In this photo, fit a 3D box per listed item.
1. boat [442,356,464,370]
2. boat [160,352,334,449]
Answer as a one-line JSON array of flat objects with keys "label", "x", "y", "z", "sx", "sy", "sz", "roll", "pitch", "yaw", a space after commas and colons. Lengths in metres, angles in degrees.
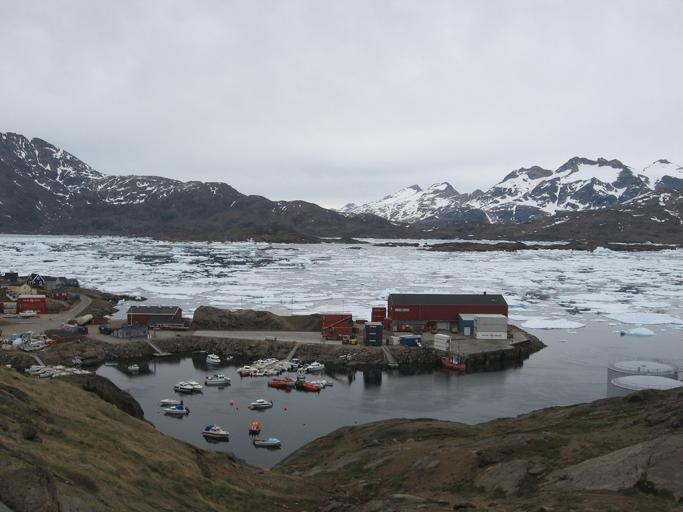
[{"label": "boat", "x": 11.564, "y": 11.275, "z": 76.378, "sx": 2.374, "sy": 0.651, "sz": 1.094, "roll": 2, "pitch": 7, "yaw": 16}, {"label": "boat", "x": -9.106, "y": 13.849, "z": 68.391, "sx": 17.139, "sy": 2.200, "sz": 19.355, "roll": -5, "pitch": 9, "yaw": -27}]
